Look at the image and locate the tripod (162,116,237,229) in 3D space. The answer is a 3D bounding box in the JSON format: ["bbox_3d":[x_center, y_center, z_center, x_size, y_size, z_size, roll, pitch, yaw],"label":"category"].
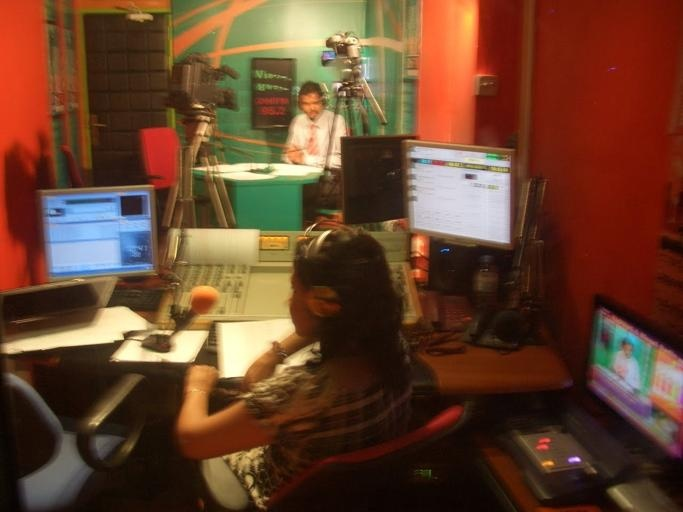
[{"bbox_3d":[-0.831,-0.467,3.260,0.441,0.700,0.741,-6,18,-17],"label":"tripod"}]

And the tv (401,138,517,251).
[{"bbox_3d":[0.454,-0.229,2.214,0.444,0.342,0.046,7,19,25],"label":"tv"}]

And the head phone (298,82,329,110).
[{"bbox_3d":[-0.238,-1.325,4.770,0.267,0.230,0.237,0,10,7],"label":"head phone"}]

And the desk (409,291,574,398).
[{"bbox_3d":[0.529,0.365,2.075,0.510,0.334,0.493,2,17,6],"label":"desk"}]

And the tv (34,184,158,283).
[{"bbox_3d":[-0.963,-0.097,2.403,0.659,0.441,0.341,-2,6,-13],"label":"tv"}]

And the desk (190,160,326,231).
[{"bbox_3d":[-0.448,-0.382,3.770,0.596,0.342,0.591,-2,14,-15],"label":"desk"}]

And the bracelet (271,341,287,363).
[{"bbox_3d":[-0.214,0.323,1.930,0.050,0.020,0.064,20,39,-34],"label":"bracelet"}]
